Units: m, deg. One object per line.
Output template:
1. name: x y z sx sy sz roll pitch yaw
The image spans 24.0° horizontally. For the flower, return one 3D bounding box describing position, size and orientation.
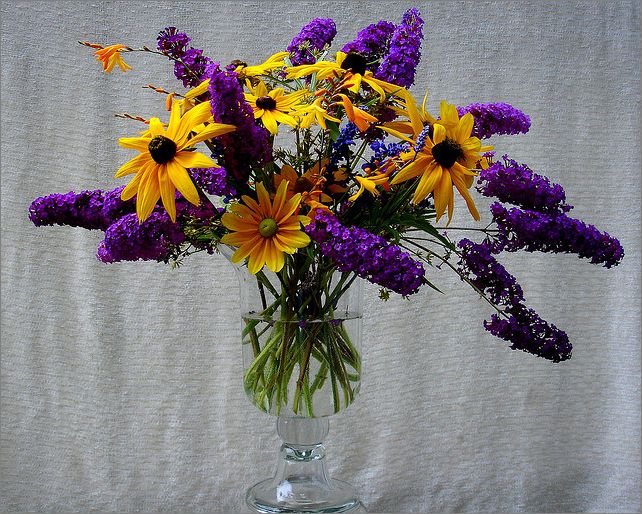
1. flower: -0.109 -0.120 3.329 1.091 0.978 0.681 0 93 -16
